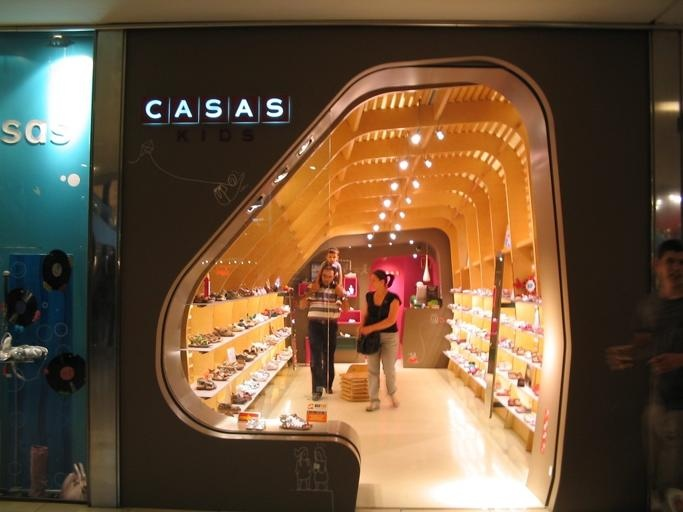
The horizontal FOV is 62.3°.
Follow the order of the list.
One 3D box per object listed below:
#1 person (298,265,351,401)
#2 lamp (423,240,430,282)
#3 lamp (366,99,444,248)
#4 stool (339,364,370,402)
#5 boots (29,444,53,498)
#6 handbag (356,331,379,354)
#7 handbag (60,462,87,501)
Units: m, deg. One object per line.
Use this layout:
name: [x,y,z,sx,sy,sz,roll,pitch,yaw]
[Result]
person: [-0.152,0.656,5.373,0.402,1.143,0.432,0,5,-5]
lamp: [0.859,0.093,5.734,0.068,0.339,0.152,2,5,14]
lamp: [0.825,-1.186,7.645,0.373,0.900,2.742,17,0,8]
stool: [0.140,1.315,5.802,0.290,0.170,0.430,0,-2,6]
boots: [-2.623,1.851,4.898,0.164,0.406,0.105,0,5,-8]
handbag: [0.257,0.872,5.804,0.249,0.205,0.362,-6,-12,-14]
handbag: [-2.301,1.934,4.870,0.230,0.312,0.072,1,5,5]
